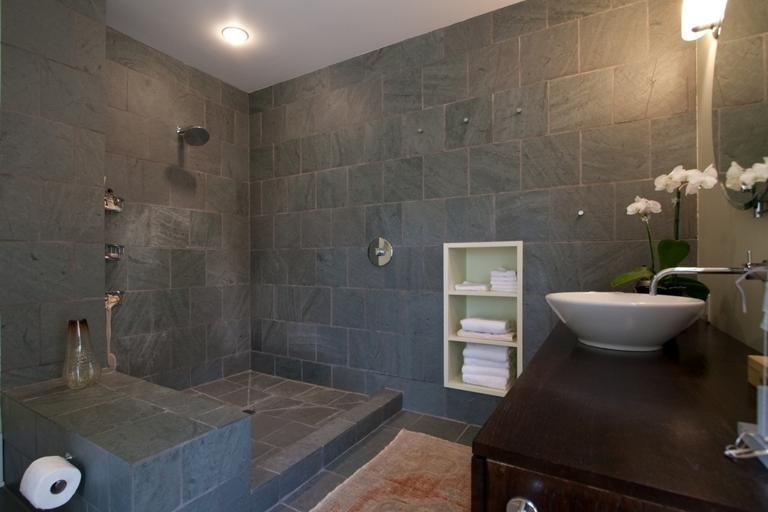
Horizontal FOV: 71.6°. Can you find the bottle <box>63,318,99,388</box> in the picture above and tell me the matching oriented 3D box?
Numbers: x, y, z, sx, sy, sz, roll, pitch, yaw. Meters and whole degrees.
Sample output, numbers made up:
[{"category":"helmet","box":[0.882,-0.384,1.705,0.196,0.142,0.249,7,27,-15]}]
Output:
[{"category":"bottle","box":[-1.844,0.592,3.229,0.180,0.466,0.092,-6,1,-31]}]

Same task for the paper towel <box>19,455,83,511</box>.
[{"category":"paper towel","box":[-1.721,1.173,2.761,0.269,0.306,0.126,-5,1,-32]}]
